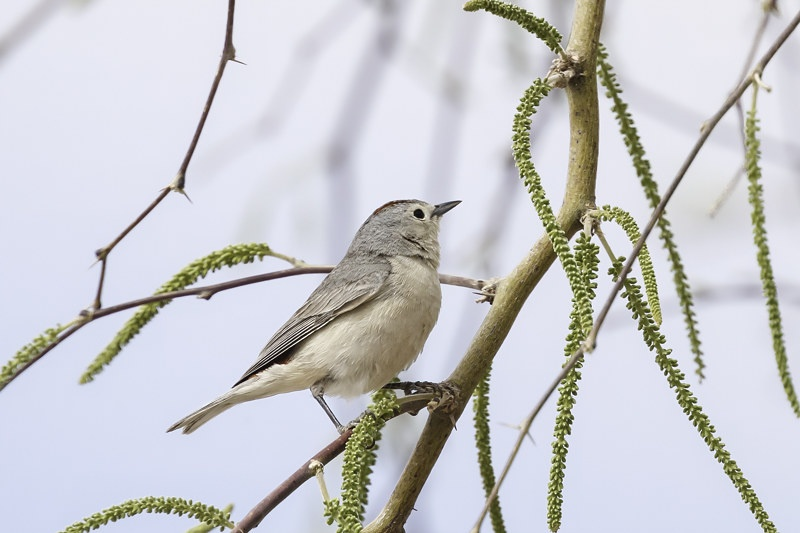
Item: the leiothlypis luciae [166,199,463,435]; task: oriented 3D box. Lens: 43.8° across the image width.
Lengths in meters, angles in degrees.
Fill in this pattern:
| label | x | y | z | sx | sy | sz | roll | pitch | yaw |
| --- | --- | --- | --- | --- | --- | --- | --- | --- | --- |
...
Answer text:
| label | x | y | z | sx | sy | sz | roll | pitch | yaw |
| --- | --- | --- | --- | --- | --- | --- | --- | --- | --- |
| leiothlypis luciae | -0.268 | 0.174 | 3.006 | 0.888 | 0.632 | 0.348 | -13 | -21 | 8 |
